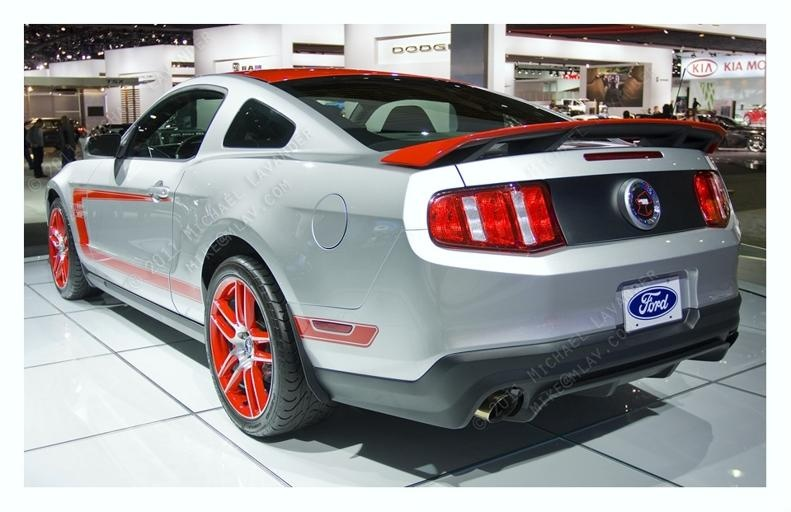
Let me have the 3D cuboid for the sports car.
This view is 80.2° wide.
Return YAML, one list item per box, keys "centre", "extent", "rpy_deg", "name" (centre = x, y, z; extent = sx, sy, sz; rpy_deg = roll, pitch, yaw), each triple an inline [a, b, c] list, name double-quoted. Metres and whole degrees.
- centre: [-0.591, -0.141, 3.361]
  extent: [2.071, 1.251, 4.199]
  rpy_deg: [-3, 13, -34]
  name: "sports car"
